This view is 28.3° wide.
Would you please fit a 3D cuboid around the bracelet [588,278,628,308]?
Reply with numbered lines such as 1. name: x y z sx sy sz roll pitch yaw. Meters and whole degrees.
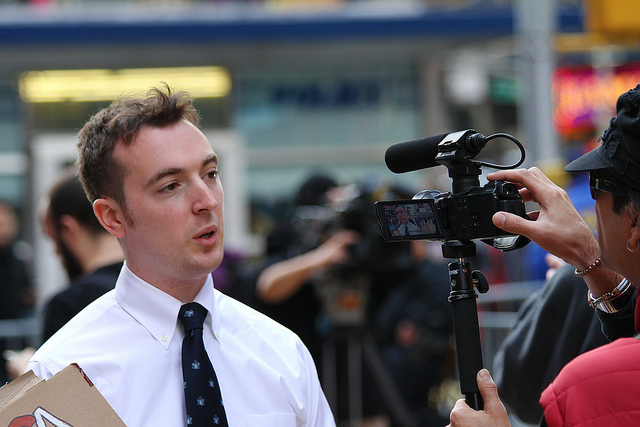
1. bracelet: 2.073 0.586 9.021 0.231 0.081 0.228 -34 6 -30

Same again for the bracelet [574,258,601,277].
1. bracelet: 1.909 0.384 8.996 0.145 0.038 0.115 -33 9 -11
